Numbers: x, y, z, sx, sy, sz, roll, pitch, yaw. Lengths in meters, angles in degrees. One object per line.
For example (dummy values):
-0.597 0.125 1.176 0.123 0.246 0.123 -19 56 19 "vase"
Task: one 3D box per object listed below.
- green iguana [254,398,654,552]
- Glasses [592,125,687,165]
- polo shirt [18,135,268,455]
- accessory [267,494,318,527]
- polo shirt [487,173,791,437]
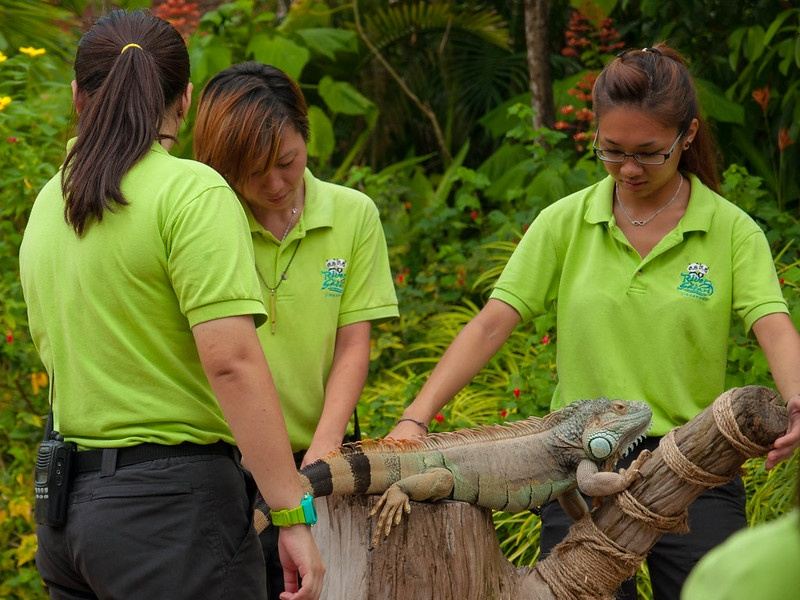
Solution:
0.148 0.640 3.284 1.641 0.521 0.582 -2 -8 11 "green iguana"
0.924 -0.604 3.412 0.340 0.143 0.199 8 14 17 "Glasses"
-0.848 -0.011 2.877 0.820 0.987 0.360 3 13 -5 "polo shirt"
-0.349 0.684 2.803 0.133 0.089 0.137 -6 -14 -7 "accessory"
1.025 0.039 3.665 1.422 1.220 0.599 1 -8 16 "polo shirt"
